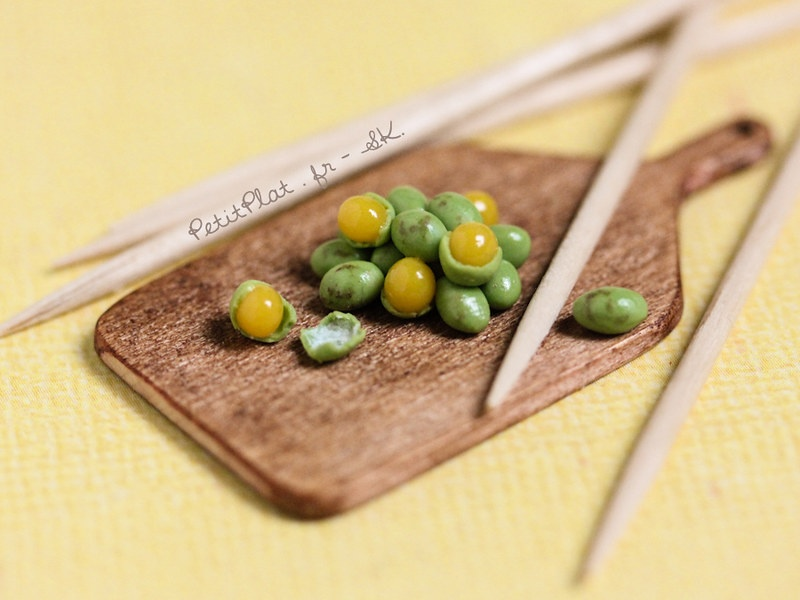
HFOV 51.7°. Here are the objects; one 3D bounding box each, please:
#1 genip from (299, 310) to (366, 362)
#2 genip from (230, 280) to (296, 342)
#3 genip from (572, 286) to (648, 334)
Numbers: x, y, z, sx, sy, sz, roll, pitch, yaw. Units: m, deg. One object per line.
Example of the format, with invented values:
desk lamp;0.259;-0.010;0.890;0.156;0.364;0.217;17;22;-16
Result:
genip;-0.134;0.078;1.698;0.142;0.057;0.147;-10;23;0
genip;-0.290;0.030;1.735;0.140;0.102;0.126;7;67;-21
genip;0.433;0.019;1.683;0.123;0.065;0.094;-4;21;-3
